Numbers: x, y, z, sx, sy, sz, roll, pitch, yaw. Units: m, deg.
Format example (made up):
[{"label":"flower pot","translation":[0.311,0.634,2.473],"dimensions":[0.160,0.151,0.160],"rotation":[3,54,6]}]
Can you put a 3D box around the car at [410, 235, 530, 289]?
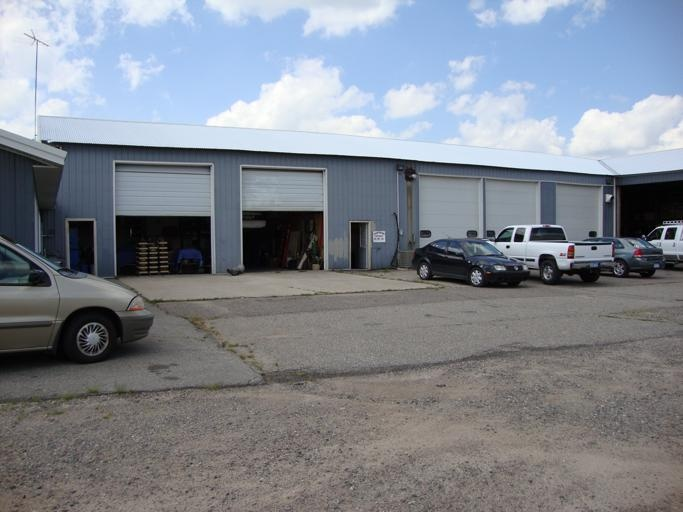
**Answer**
[{"label":"car","translation":[4.292,0.202,17.244],"dimensions":[1.485,1.330,3.652],"rotation":[0,-1,-27]}]

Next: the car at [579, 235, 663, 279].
[{"label":"car","translation":[10.925,0.066,20.346],"dimensions":[1.599,1.457,3.666],"rotation":[-1,4,-18]}]
